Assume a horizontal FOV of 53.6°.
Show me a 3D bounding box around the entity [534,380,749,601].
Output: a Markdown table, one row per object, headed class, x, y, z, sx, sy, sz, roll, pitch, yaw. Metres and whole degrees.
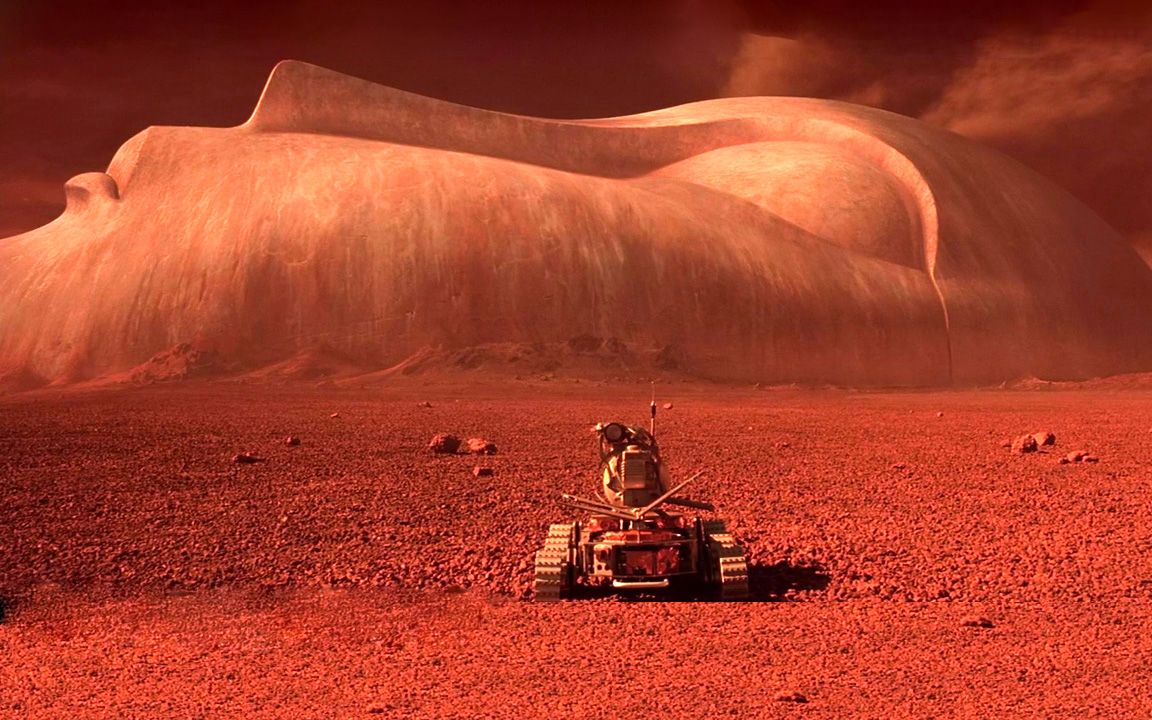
| class | x | y | z | sx | sy | sz | roll | pitch | yaw |
| --- | --- | --- | --- | --- | --- | --- | --- | --- | --- |
| entity | 1.060 | 2.464 | 19.671 | 3.461 | 3.260 | 1.492 | 0 | 11 | 2 |
